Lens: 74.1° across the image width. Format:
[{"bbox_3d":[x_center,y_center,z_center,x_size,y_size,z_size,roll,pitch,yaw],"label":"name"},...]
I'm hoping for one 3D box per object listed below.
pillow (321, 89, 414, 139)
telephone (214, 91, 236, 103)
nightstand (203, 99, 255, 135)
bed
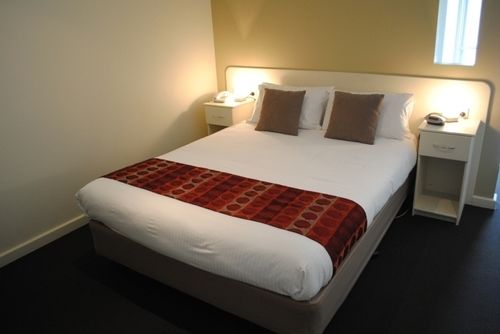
[{"bbox_3d":[1.450,-0.624,3.982,0.897,0.591,0.275,9,-1,17],"label":"pillow"},{"bbox_3d":[-0.409,-1.079,5.134,0.271,0.131,0.186,-5,29,-8],"label":"telephone"},{"bbox_3d":[-0.347,-0.898,5.304,0.614,0.741,0.575,12,28,27],"label":"nightstand"},{"bbox_3d":[0.170,0.214,3.333,3.487,1.648,2.179,-9,22,-26],"label":"bed"}]
